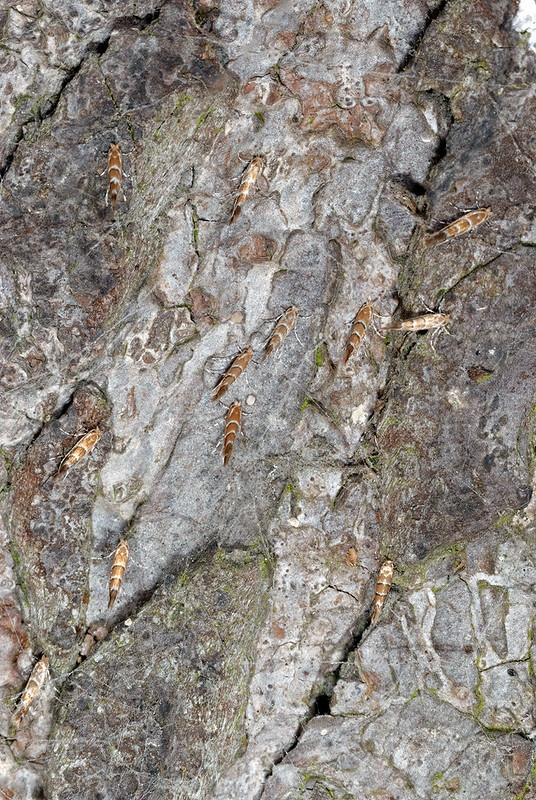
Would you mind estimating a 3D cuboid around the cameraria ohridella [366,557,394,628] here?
[{"bbox_3d":[0.879,1.474,9.669,0.105,0.162,0.567,14,106,7],"label":"cameraria ohridella"}]

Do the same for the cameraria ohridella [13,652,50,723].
[{"bbox_3d":[-1.690,2.117,9.185,0.157,0.173,0.543,23,107,7],"label":"cameraria ohridella"}]

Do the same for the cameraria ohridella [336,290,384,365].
[{"bbox_3d":[0.691,-0.512,9.497,0.232,0.110,0.455,26,102,27],"label":"cameraria ohridella"}]
